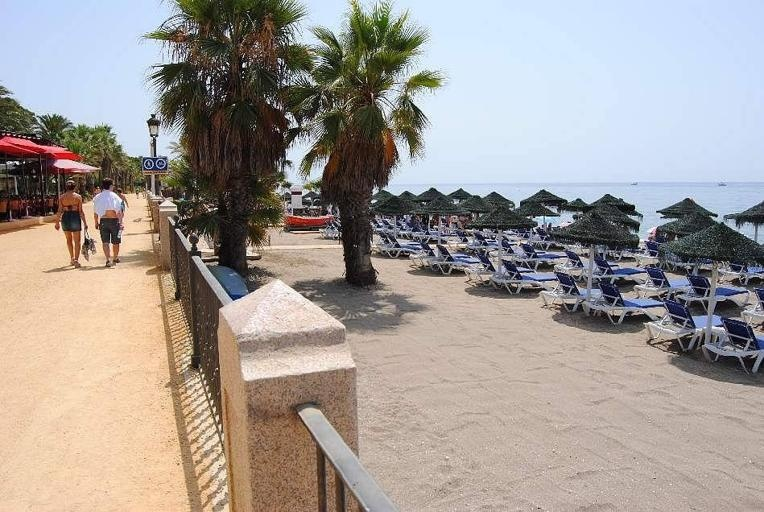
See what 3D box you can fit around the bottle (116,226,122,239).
[{"bbox_3d":[-6.567,-0.605,12.604,0.111,0.106,0.368,-26,-4,-25],"label":"bottle"}]
